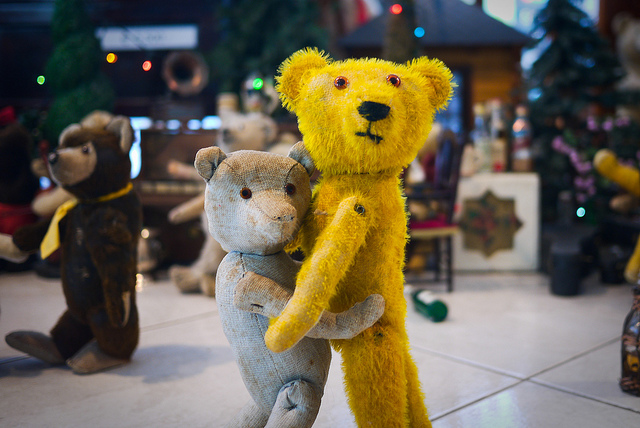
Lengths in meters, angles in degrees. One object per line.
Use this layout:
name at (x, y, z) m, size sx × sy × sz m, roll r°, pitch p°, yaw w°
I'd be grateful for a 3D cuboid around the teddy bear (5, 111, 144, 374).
teddy bear at (-1.589, 0.187, 5.075) m, size 0.762 × 1.706 × 0.438 m, roll -3°, pitch 9°, yaw -12°

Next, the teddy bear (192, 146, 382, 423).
teddy bear at (-0.230, 0.424, 4.417) m, size 0.873 × 1.643 × 0.464 m, roll -3°, pitch 9°, yaw -16°

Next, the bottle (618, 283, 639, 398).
bottle at (1.977, 0.812, 4.903) m, size 0.125 × 0.730 × 0.159 m, roll 2°, pitch 9°, yaw 20°

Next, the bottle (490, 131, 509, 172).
bottle at (1.661, -0.613, 7.167) m, size 0.176 × 0.353 × 0.498 m, roll 1°, pitch 8°, yaw 12°

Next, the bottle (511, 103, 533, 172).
bottle at (1.900, -0.762, 7.278) m, size 0.201 × 0.620 × 0.443 m, roll 1°, pitch 8°, yaw 14°
